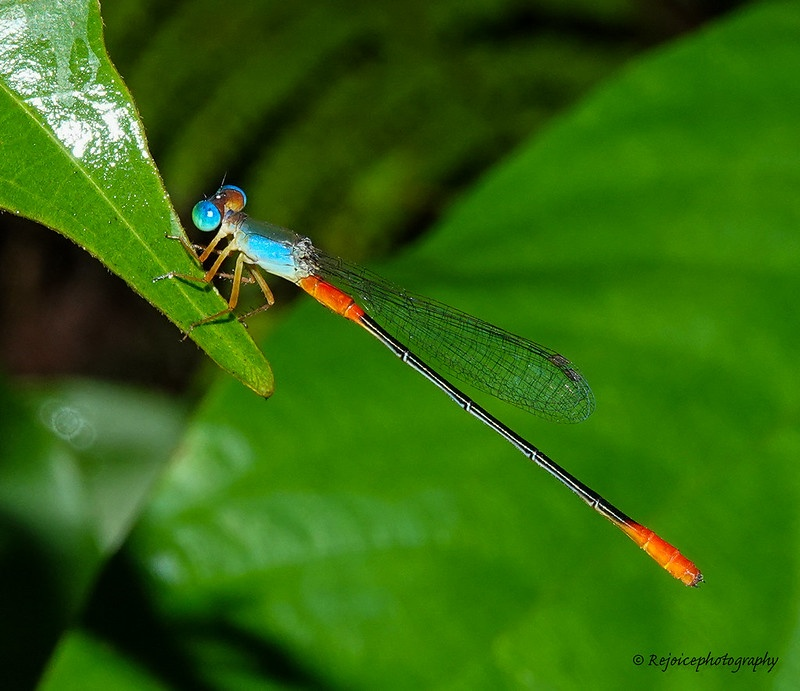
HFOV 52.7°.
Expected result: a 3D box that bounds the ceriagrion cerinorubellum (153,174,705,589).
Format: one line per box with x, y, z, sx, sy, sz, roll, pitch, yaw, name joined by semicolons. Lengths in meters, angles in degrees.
0.072;0.095;3.142;2.620;0.627;0.663;32;33;22;ceriagrion cerinorubellum
